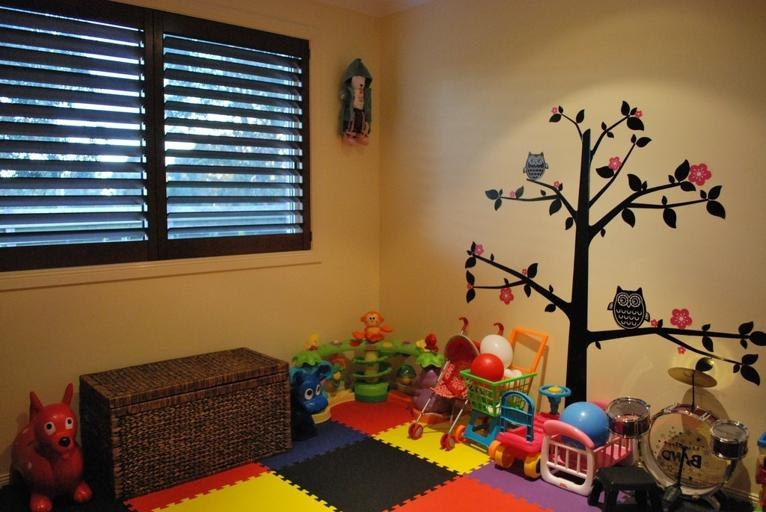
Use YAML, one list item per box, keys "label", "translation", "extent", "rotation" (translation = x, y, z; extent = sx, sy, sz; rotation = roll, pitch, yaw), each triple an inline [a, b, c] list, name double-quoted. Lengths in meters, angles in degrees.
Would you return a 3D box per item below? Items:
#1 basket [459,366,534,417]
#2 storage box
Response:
- label: "basket"
  translation: [0.687, 0.828, 3.442]
  extent: [0.286, 0.228, 0.412]
  rotation: [-1, 6, -20]
- label: "storage box"
  translation: [-1.223, 0.992, 3.363]
  extent: [0.622, 0.602, 1.094]
  rotation: [1, 3, 44]
